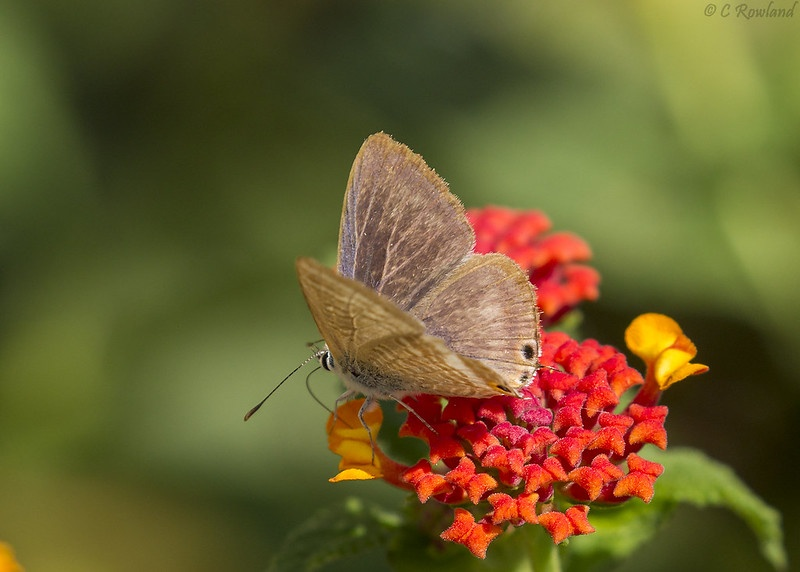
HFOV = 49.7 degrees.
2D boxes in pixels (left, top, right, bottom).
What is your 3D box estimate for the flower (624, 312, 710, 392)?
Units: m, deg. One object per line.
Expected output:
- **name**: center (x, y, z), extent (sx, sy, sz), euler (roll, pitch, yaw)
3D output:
- **flower**: center (1.249, 0.353, 4.146), extent (0.336, 0.243, 0.411), euler (-20, 49, 42)
